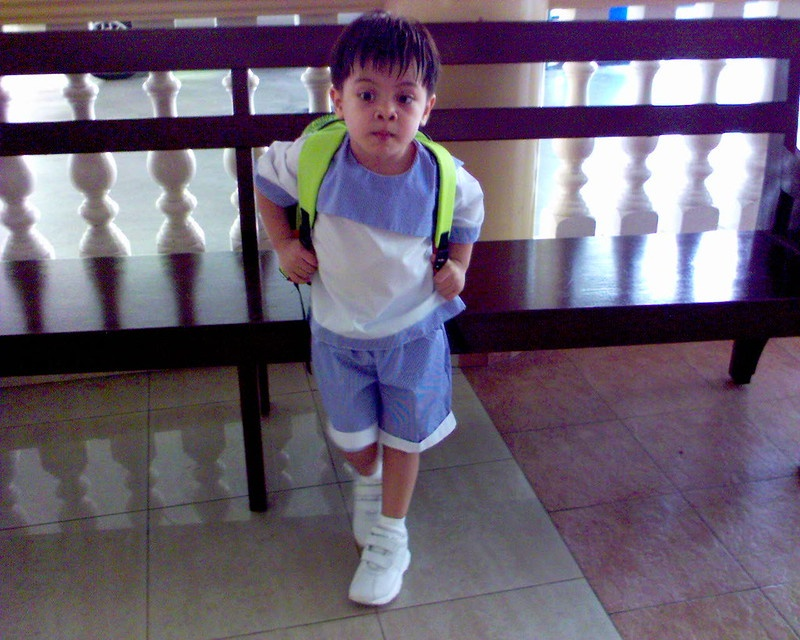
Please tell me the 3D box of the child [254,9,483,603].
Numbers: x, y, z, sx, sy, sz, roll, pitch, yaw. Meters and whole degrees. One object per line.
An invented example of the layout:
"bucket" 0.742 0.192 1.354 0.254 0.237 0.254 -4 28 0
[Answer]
"child" -0.073 -0.012 1.515 0.482 1.178 0.420 2 13 4

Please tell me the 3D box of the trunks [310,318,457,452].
"trunks" -0.037 0.124 1.537 0.319 0.322 0.197 6 33 8

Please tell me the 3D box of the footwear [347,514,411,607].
"footwear" -0.041 0.543 1.576 0.085 0.104 0.227 7 10 9

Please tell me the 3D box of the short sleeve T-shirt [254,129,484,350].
"short sleeve T-shirt" -0.057 -0.180 1.454 0.472 0.422 0.247 2 14 -6

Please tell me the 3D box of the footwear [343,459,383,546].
"footwear" -0.094 0.459 1.743 0.068 0.205 0.082 -3 -14 -4
